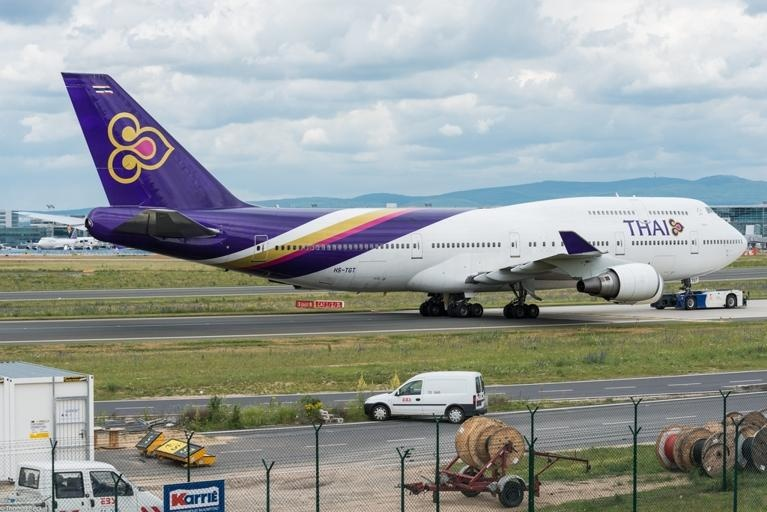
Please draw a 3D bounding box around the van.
[{"bbox_3d":[2.055,6.022,46.487,6.259,1.930,2.523,0,0,20],"label":"van"}]

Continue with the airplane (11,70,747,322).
[{"bbox_3d":[6.624,-4.145,63.907,45.778,15.414,27.694,-2,-5,-20],"label":"airplane"}]
